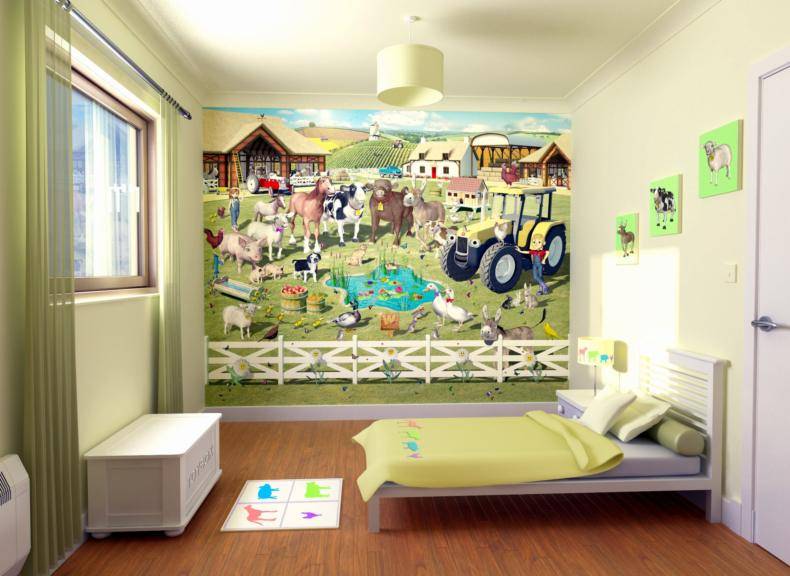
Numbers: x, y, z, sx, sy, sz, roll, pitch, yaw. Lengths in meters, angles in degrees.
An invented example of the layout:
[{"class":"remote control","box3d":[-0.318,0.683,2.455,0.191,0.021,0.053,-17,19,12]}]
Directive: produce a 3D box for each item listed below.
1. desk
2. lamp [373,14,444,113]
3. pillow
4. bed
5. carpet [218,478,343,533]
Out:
[{"class":"desk","box3d":[-1.699,1.324,3.757,0.621,0.521,1.043,0,-2,-4]},{"class":"lamp","box3d":[0.113,-1.722,3.885,0.519,0.558,0.508,-4,7,-44]},{"class":"pillow","box3d":[1.753,0.922,3.679,0.386,0.119,0.531,-5,8,-12]},{"class":"bed","box3d":[1.085,0.916,3.763,1.943,0.895,1.253,-1,2,-1]},{"class":"carpet","box3d":[-0.769,1.521,3.684,0.780,0.015,0.638,0,9,-2]}]
